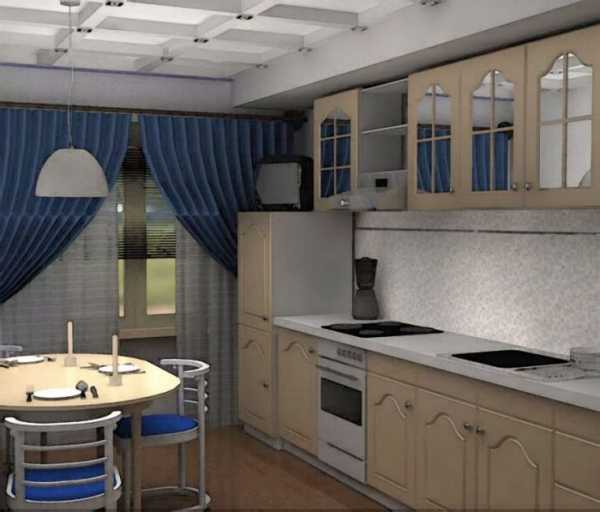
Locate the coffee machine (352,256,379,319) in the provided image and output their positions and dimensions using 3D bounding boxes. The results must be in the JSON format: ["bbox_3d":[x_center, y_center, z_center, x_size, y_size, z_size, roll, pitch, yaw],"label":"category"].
[{"bbox_3d":[0.494,0.235,4.721,0.241,0.446,0.222,-1,2,-19],"label":"coffee machine"}]

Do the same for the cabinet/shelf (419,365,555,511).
[{"bbox_3d":[0.914,0.869,3.086,0.346,0.731,0.733,2,-3,-19],"label":"cabinet/shelf"}]

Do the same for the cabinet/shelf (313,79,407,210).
[{"bbox_3d":[0.435,-0.781,4.431,0.269,0.801,0.871,1,0,-24],"label":"cabinet/shelf"}]

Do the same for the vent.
[{"bbox_3d":[0.406,-0.426,4.189,0.225,0.253,0.674,0,2,-43],"label":"vent"}]

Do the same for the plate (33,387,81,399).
[{"bbox_3d":[-1.234,0.703,3.275,0.233,0.017,0.180,-1,3,-15],"label":"plate"}]
